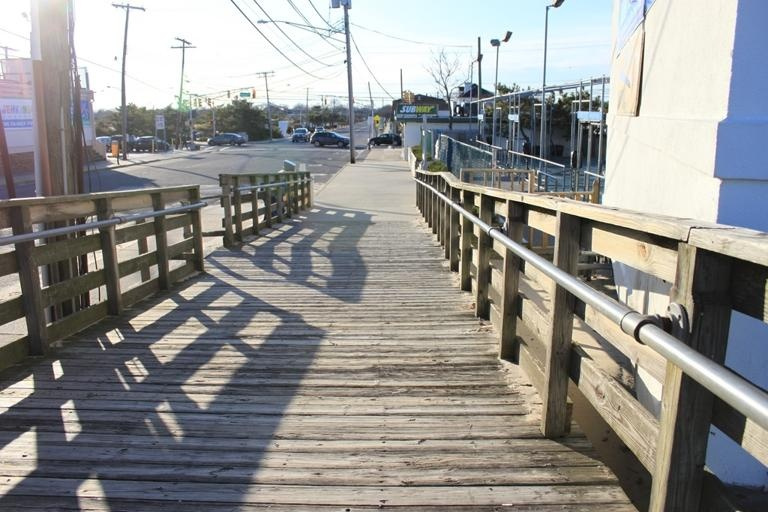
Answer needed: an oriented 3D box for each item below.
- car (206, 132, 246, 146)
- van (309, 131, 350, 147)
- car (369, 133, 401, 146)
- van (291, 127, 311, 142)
[{"bbox_3d":[-14.302,-10.756,57.215,3.218,1.071,2.294,4,10,18],"label":"car"},{"bbox_3d":[-4.232,-9.322,49.394,3.325,1.454,1.827,-2,13,3],"label":"van"},{"bbox_3d":[0.161,-10.009,53.396,2.559,0.910,1.164,3,13,-2],"label":"car"},{"bbox_3d":[-8.174,-12.125,60.718,1.821,1.444,3.207,-2,9,-5],"label":"van"}]
